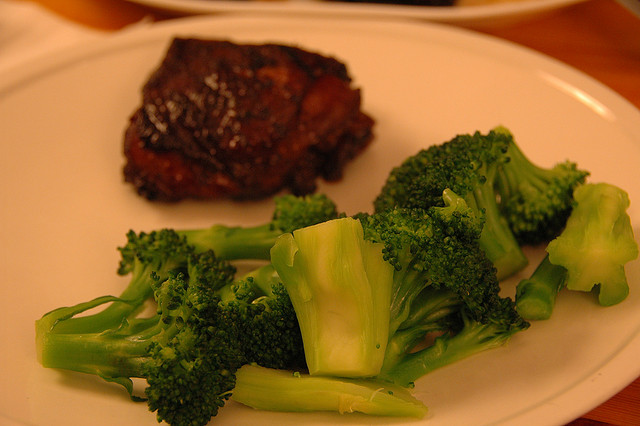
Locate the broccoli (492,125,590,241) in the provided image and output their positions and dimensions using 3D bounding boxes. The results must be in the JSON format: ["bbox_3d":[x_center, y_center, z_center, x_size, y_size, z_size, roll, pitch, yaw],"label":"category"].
[{"bbox_3d":[1.062,-0.125,2.818,0.272,0.430,0.293,-27,-11,-44],"label":"broccoli"}]

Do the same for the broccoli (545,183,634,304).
[{"bbox_3d":[1.216,0.123,2.646,0.354,0.414,0.319,5,29,22],"label":"broccoli"}]
